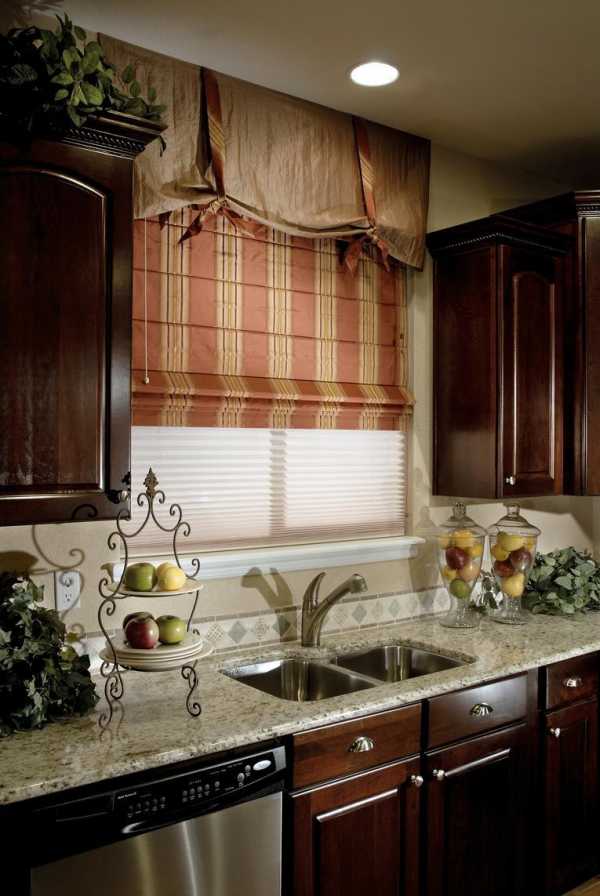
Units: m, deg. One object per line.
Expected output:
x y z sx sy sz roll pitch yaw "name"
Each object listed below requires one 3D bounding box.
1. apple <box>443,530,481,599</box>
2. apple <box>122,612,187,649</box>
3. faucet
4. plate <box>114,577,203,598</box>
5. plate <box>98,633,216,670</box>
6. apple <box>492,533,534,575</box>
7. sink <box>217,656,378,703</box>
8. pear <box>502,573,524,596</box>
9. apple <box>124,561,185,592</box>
0.572 0.416 2.443 0.150 0.268 0.110 -2 3 4 "apple"
-0.318 0.371 1.477 0.077 0.034 0.085 2 0 31 "apple"
0.084 0.486 2.095 0.276 0.234 0.088 1 4 44 "faucet"
-0.313 0.302 1.513 0.110 0.012 0.111 -1 1 -13 "plate"
-0.285 0.429 1.456 0.122 0.030 0.121 0 1 -27 "plate"
0.746 0.361 2.502 0.146 0.166 0.142 -2 1 -44 "apple"
0.020 0.612 1.946 0.209 0.108 0.265 2 -2 -37 "sink"
0.754 0.487 2.482 0.079 0.085 0.052 -2 3 13 "pear"
-0.314 0.278 1.497 0.099 0.049 0.066 -3 2 -42 "apple"
